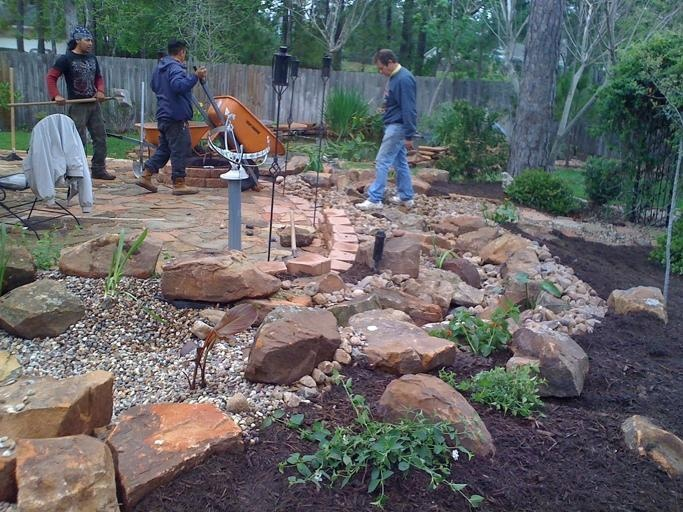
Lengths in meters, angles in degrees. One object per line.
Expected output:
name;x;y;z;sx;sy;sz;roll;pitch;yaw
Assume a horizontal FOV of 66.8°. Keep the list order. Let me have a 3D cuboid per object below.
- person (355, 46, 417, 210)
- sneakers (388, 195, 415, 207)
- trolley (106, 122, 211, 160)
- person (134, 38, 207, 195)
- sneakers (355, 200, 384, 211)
person;0.811;-1.968;8.160;0.829;2.414;1.293;8;18;14
sneakers;1.009;-0.874;8.663;0.458;0.208;0.175;11;24;12
trolley;-3.158;-1.952;9.011;1.830;0.593;0.818;-8;4;-9
person;-2.618;-2.091;7.835;0.929;2.290;1.192;-9;22;-33
sneakers;0.444;-0.759;8.059;0.434;0.193;0.162;2;9;-6
